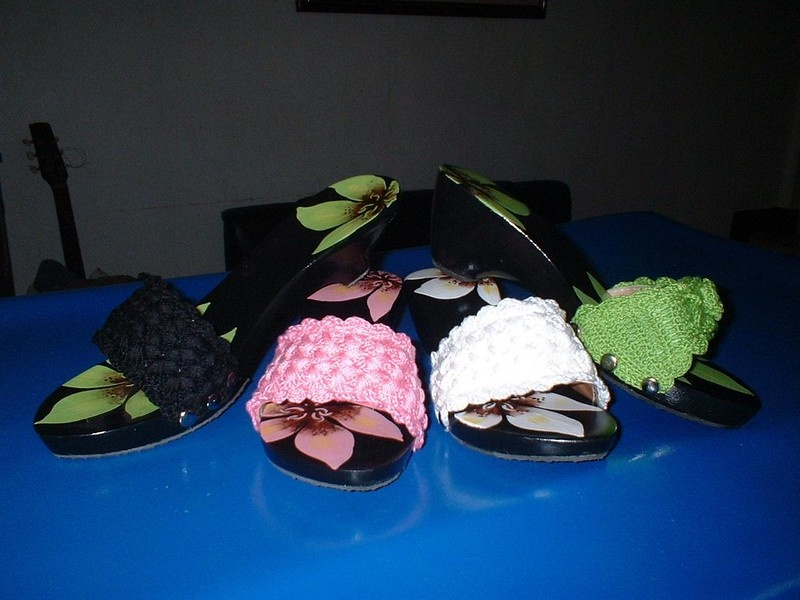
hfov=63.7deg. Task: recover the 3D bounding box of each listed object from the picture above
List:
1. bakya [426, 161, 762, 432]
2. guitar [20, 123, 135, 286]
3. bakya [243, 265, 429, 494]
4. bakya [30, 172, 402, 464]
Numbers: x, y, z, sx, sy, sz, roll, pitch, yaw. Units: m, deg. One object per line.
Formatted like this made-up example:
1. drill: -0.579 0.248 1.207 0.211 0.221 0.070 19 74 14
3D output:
1. bakya: 0.277 -0.062 1.135 0.726 0.299 0.230 28 36 36
2. guitar: -0.933 -0.288 1.824 0.069 0.504 0.084 -1 17 35
3. bakya: -0.085 0.065 1.019 0.246 0.155 0.531 -5 30 11
4. bakya: -0.229 -0.005 1.087 0.254 0.247 0.734 24 42 37
